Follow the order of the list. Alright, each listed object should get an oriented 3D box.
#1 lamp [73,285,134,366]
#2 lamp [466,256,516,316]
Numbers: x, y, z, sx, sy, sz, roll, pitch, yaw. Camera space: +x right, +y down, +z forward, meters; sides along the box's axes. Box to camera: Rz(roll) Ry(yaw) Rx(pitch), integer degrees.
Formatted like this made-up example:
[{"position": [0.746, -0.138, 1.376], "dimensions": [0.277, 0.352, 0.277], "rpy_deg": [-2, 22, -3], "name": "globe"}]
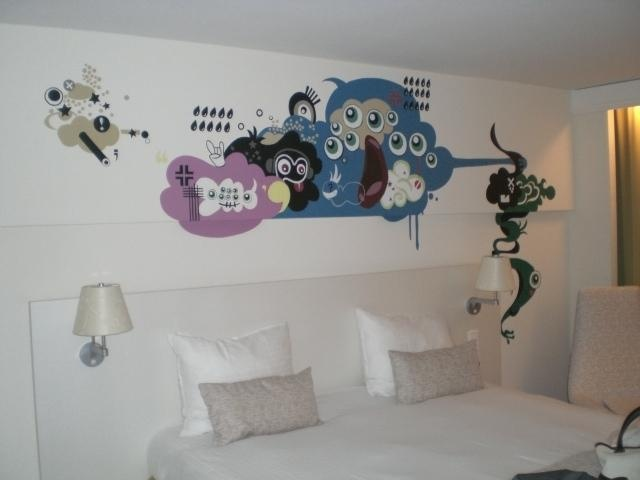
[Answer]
[{"position": [-1.308, 0.501, 3.066], "dimensions": [0.287, 0.520, 0.288], "rpy_deg": [6, 14, 6], "name": "lamp"}, {"position": [1.415, 0.394, 4.214], "dimensions": [0.245, 0.555, 0.337], "rpy_deg": [-12, 10, -43], "name": "lamp"}]
